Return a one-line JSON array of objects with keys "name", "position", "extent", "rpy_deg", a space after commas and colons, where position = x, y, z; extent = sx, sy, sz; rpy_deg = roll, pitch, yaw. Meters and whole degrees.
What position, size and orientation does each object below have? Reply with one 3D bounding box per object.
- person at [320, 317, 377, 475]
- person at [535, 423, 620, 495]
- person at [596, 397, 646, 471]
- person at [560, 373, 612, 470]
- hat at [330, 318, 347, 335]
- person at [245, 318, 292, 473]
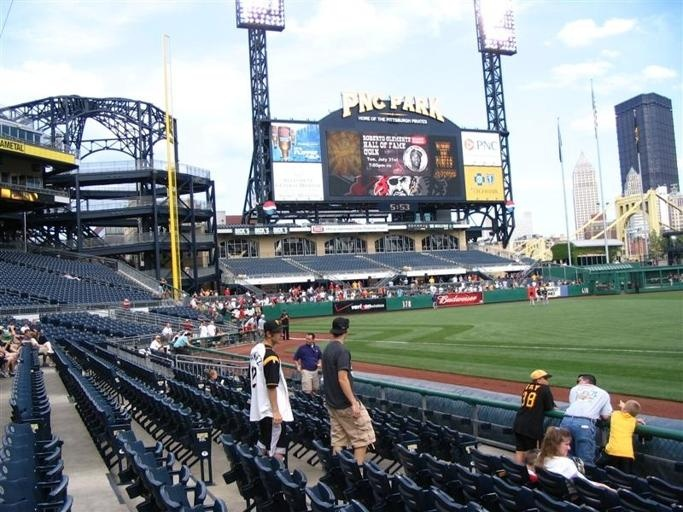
[{"name": "person", "position": [0.082, 1.661, 7.813], "extent": [0.594, 1.391, 0.726], "rpy_deg": [-2, -1, -5]}, {"name": "person", "position": [2.721, 2.346, 7.324], "extent": [0.543, 1.068, 0.513], "rpy_deg": [-19, 14, -23]}, {"name": "person", "position": [3.627, 2.379, 8.129], "extent": [0.460, 1.082, 0.612], "rpy_deg": [9, 1, 14]}, {"name": "person", "position": [3.211, 2.167, 8.433], "extent": [0.520, 1.384, 0.461], "rpy_deg": [-13, 24, -38]}, {"name": "hat", "position": [-0.031, 0.861, 7.819], "extent": [0.202, 0.175, 0.280], "rpy_deg": [-2, -1, -3]}, {"name": "person", "position": [-0.921, 1.634, 7.773], "extent": [0.488, 1.201, 0.388], "rpy_deg": [-3, -1, 31]}]
